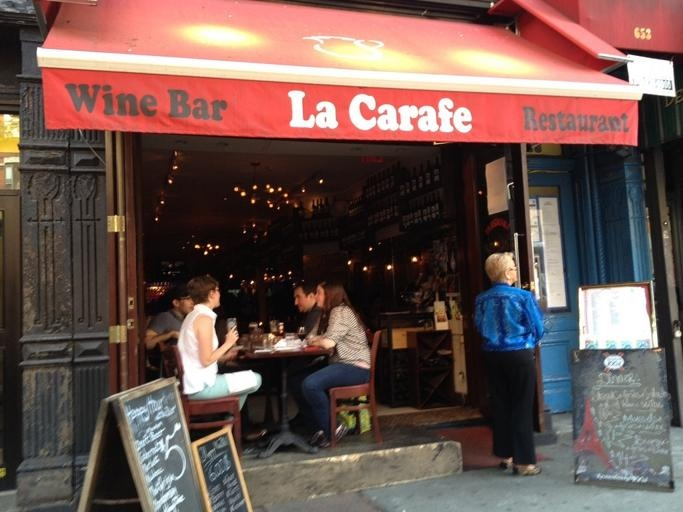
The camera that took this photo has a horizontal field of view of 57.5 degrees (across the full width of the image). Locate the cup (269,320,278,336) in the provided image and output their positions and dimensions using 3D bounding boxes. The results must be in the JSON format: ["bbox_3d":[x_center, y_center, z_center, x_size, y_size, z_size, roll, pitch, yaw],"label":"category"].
[{"bbox_3d":[-0.774,0.836,7.157,0.080,0.158,0.111,-4,-3,-3],"label":"cup"}]

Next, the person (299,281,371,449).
[{"bbox_3d":[-0.086,1.178,6.404,0.937,1.907,0.856,2,-29,-1],"label":"person"}]

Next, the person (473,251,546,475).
[{"bbox_3d":[1.597,1.013,5.902,0.327,2.073,0.599,-1,-5,-42],"label":"person"}]

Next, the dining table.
[{"bbox_3d":[-0.676,1.377,6.097,0.952,0.920,0.929,0,-5,-10],"label":"dining table"}]

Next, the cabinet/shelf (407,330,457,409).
[{"bbox_3d":[1.199,1.481,8.291,0.601,0.982,0.321,-4,-4,5],"label":"cabinet/shelf"}]

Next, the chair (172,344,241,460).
[{"bbox_3d":[-1.305,1.370,5.971,0.734,1.011,0.750,-3,-3,3],"label":"chair"}]

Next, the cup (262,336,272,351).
[{"bbox_3d":[-0.751,0.898,6.402,0.101,0.180,0.137,0,0,13],"label":"cup"}]

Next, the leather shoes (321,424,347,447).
[{"bbox_3d":[-0.085,1.803,6.286,0.106,0.134,0.324,-5,9,19],"label":"leather shoes"}]

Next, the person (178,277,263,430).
[{"bbox_3d":[-1.178,0.798,5.777,0.659,1.227,0.382,-3,-4,-16],"label":"person"}]

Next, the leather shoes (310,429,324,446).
[{"bbox_3d":[-0.235,1.759,6.028,0.146,0.133,0.122,-4,-3,-3],"label":"leather shoes"}]
